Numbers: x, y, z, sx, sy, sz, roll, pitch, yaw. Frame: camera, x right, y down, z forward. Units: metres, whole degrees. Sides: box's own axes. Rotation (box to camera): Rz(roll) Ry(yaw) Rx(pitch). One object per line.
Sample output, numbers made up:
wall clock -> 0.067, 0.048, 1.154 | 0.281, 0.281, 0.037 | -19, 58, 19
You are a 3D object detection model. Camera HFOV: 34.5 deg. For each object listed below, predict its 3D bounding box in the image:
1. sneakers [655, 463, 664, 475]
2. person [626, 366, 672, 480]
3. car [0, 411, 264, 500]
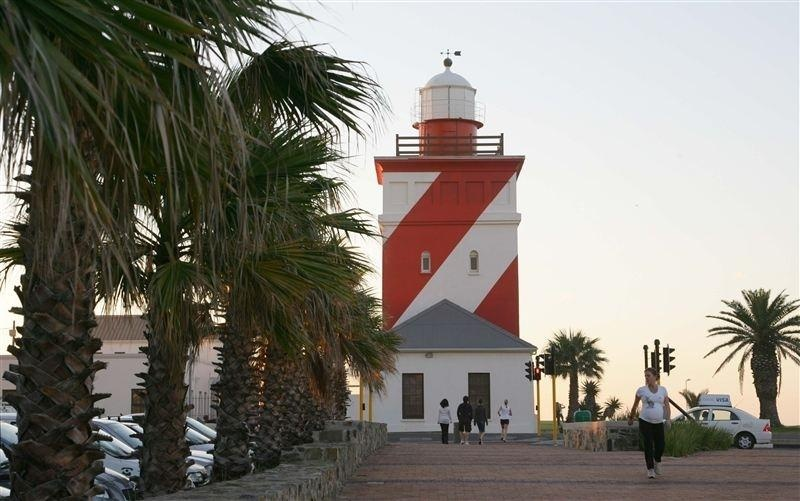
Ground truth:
sneakers -> 4.990, 4.114, 24.617 | 0.115, 0.155, 0.365 | 2, 5, 13
person -> 4.774, 3.213, 24.449 | 0.733, 2.093, 1.251 | -1, -13, 10
car -> -5.109, 3.624, 23.020 | 3.170, 1.726, 4.591 | -1, -14, 8
